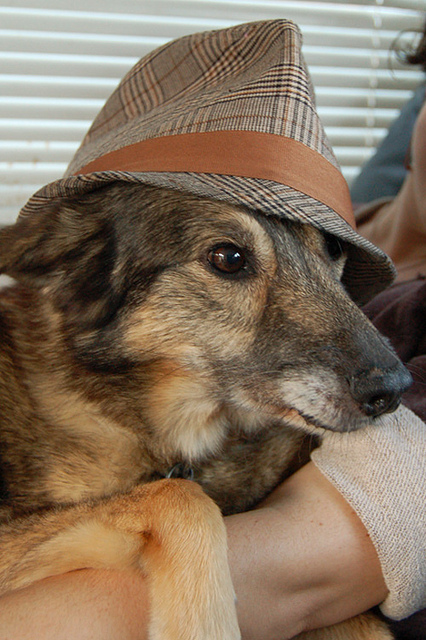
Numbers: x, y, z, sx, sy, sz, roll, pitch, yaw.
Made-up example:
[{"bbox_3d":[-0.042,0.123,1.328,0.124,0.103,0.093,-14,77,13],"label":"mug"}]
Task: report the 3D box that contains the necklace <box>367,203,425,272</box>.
[{"bbox_3d":[0.593,-0.232,2.092,0.259,0.244,0.064,25,-35,-20],"label":"necklace"}]
